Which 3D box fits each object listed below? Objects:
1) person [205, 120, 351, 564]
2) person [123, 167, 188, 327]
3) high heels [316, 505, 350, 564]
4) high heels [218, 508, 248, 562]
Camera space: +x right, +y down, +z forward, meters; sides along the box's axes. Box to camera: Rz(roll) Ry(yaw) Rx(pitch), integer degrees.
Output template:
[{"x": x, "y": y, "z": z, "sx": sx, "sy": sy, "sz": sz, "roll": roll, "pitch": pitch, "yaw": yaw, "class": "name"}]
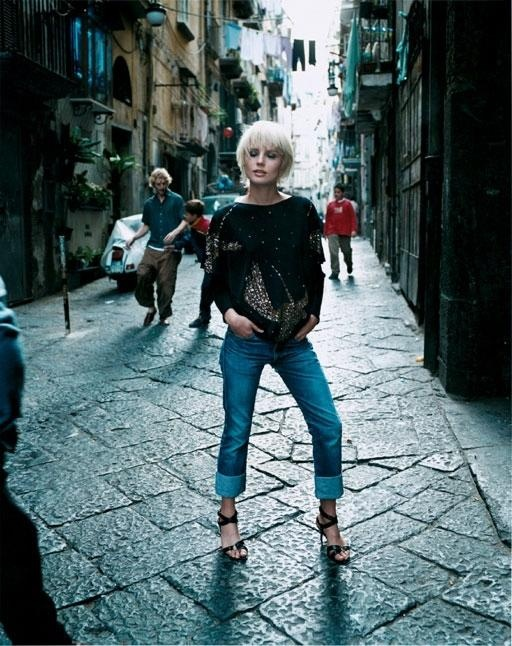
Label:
[{"x": 0.051, "y": 0.057, "z": 2.175, "sx": 0.436, "sy": 1.485, "sz": 0.323, "roll": -2, "pitch": 9, "yaw": -5, "class": "person"}, {"x": -1.059, "y": -0.801, "z": 6.806, "sx": 0.613, "sy": 1.696, "sz": 0.421, "roll": -1, "pitch": 9, "yaw": 4, "class": "person"}, {"x": 0.255, "y": 0.734, "z": 2.155, "sx": 0.070, "sy": 0.076, "sz": 0.209, "roll": -1, "pitch": 15, "yaw": -15, "class": "high heels"}, {"x": -0.082, "y": 0.750, "z": 2.171, "sx": 0.063, "sy": 0.078, "sz": 0.195, "roll": -2, "pitch": 5, "yaw": -19, "class": "high heels"}]
